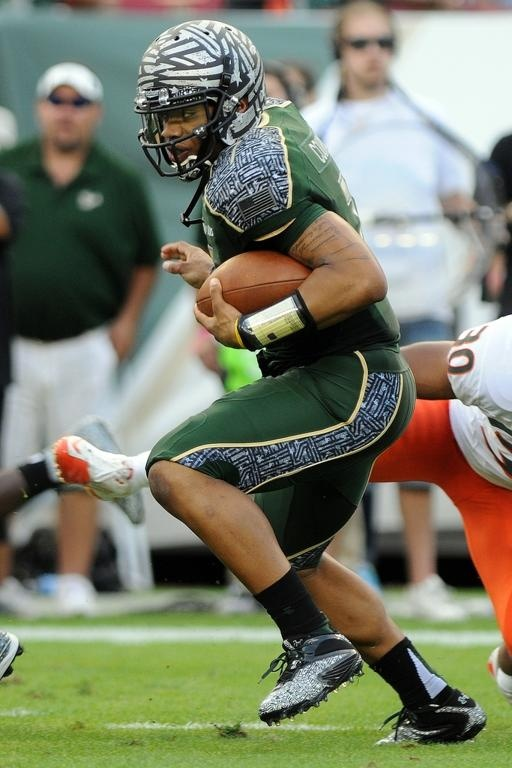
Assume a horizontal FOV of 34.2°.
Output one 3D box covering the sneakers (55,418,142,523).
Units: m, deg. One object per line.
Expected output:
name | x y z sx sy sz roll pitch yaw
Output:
sneakers | -0.337 0.202 1.859 0.104 0.238 0.150 -32 -7 19

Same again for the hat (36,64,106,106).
hat | -0.614 -1.021 2.775 0.197 0.101 0.226 2 2 1

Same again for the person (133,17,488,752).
person | 0.059 0.057 1.492 0.531 1.364 0.701 -11 23 -8

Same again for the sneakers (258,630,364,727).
sneakers | 0.086 0.468 1.327 0.126 0.111 0.137 2 23 21

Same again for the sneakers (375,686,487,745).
sneakers | 0.327 0.599 1.534 0.251 0.099 0.078 -10 -16 3

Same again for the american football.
american football | 0.006 -0.169 1.415 0.175 0.094 0.084 -11 16 14
